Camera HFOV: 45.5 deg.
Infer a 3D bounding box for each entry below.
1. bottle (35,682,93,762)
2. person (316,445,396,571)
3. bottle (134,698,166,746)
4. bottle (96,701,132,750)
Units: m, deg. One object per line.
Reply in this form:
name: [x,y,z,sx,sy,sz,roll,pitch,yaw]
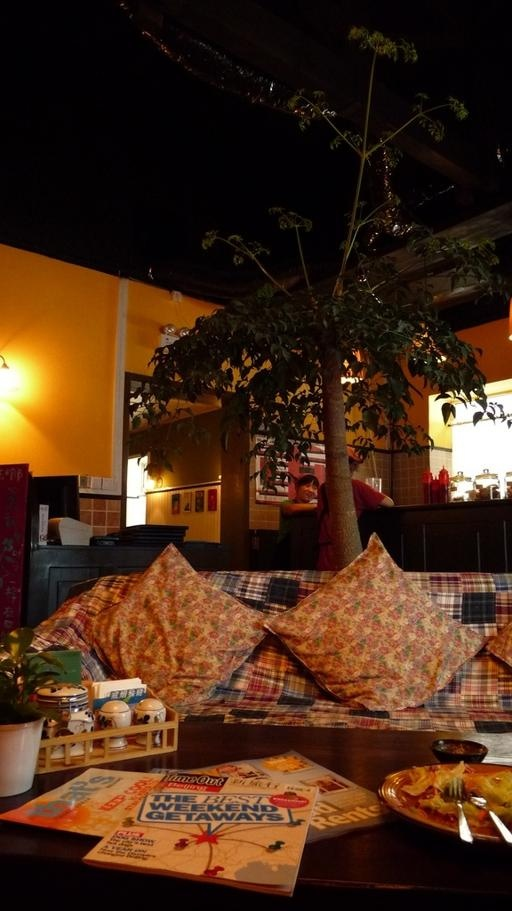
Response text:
bottle: [-0.340,0.461,1.095,0.096,0.126,0.093,1,17,0]
person: [0.604,0.477,4.109,0.481,1.113,0.359,13,14,34]
bottle: [-0.193,0.485,1.112,0.057,0.080,0.061,-1,-11,0]
bottle: [-0.254,0.484,1.102,0.061,0.075,0.057,1,-9,0]
